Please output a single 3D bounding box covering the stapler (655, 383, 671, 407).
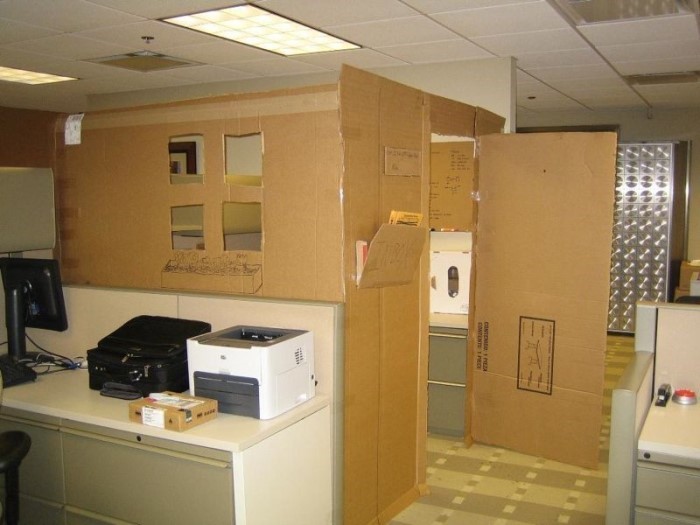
[{"bbox_3d":[1.663,0.714,3.091,0.058,0.068,0.190,-2,1,29],"label":"stapler"}]

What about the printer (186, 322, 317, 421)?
[{"bbox_3d":[-0.462,0.491,2.973,0.481,0.352,0.481,1,2,26],"label":"printer"}]

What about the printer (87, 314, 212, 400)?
[{"bbox_3d":[-1.104,0.509,3.136,0.467,0.288,0.466,3,7,27],"label":"printer"}]

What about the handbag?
[{"bbox_3d":[-1.092,0.461,3.128,0.468,0.283,0.469,3,9,27],"label":"handbag"}]
